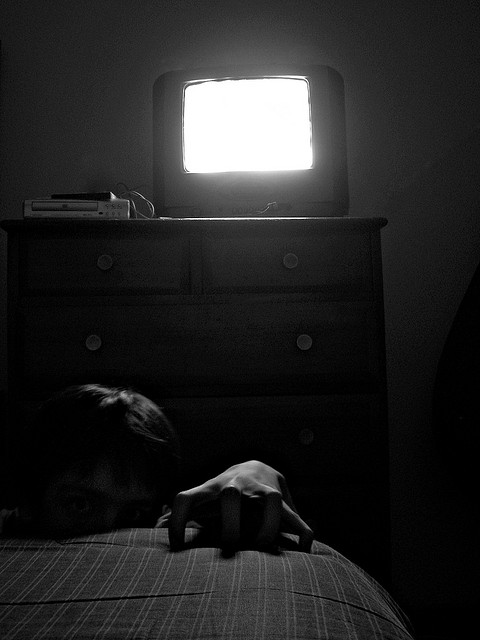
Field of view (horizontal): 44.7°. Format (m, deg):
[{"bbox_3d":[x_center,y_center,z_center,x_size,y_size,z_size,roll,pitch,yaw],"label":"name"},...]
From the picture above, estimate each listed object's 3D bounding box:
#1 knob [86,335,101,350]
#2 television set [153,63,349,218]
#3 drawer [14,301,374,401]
[{"bbox_3d":[-0.284,0.044,1.132,0.027,0.027,0.008,2,-1,-17],"label":"knob"},{"bbox_3d":[0.020,-0.433,1.415,0.473,0.336,0.088,3,-1,-3],"label":"television set"},{"bbox_3d":[-0.089,0.055,1.140,0.706,0.186,0.029,3,-1,-2],"label":"drawer"}]
